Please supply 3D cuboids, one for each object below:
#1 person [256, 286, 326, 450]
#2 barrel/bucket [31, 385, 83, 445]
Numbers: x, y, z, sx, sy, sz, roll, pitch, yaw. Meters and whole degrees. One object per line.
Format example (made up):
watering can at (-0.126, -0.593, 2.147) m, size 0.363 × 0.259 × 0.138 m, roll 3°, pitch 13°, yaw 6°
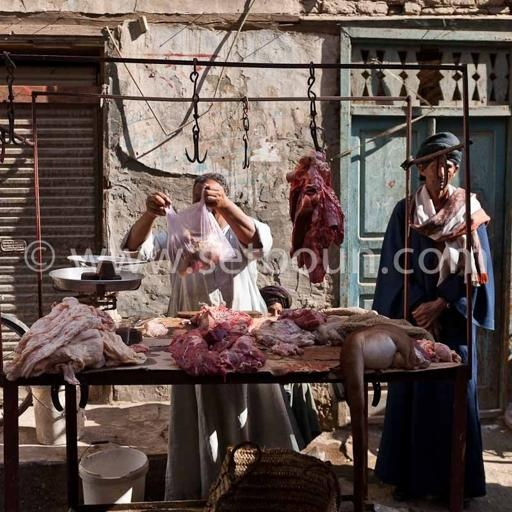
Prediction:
person at (0.297, 0.854, 7.738) m, size 0.494 × 1.183 × 0.559 m, roll 3°, pitch 9°, yaw 5°
barrel/bucket at (-1.638, 1.314, 8.357) m, size 0.550 × 0.558 × 0.526 m, roll -1°, pitch -5°, yaw 0°
